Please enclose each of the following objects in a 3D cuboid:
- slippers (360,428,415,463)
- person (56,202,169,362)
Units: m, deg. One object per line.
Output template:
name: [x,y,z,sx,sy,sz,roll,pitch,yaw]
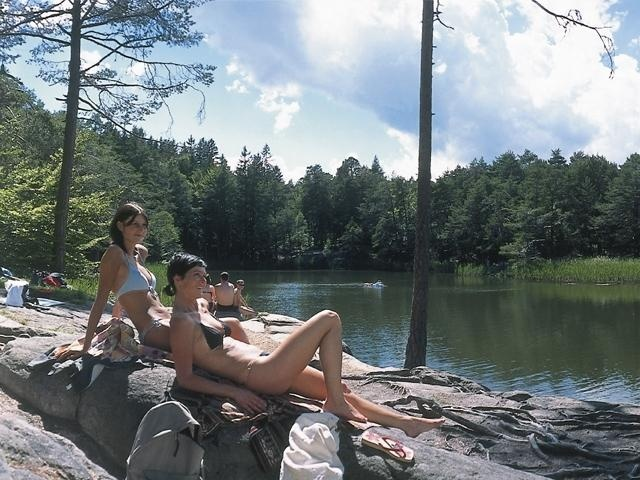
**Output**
slippers: [0.762,2.341,7.142,0.489,0.127,0.292,15,22,19]
person: [-2.593,0.496,8.304,1.357,2.112,0.913,1,-3,-5]
